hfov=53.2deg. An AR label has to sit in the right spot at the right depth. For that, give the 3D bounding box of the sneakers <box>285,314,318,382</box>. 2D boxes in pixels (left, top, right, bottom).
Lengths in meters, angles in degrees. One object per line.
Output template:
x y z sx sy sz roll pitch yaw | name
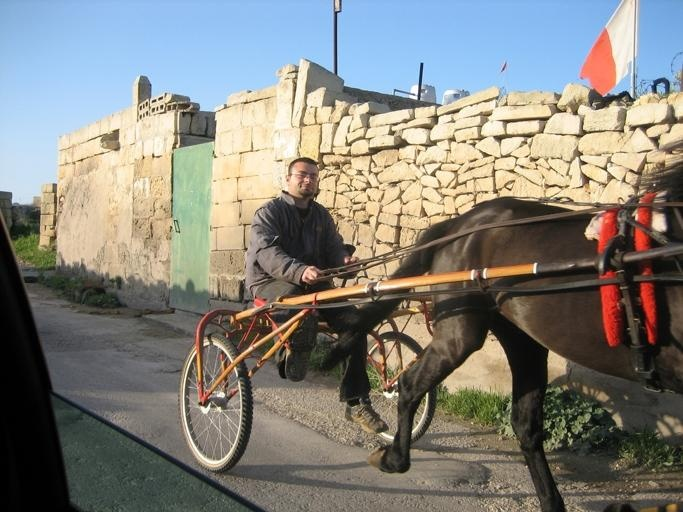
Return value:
-0.325 0.707 5.148 0.191 0.582 0.242 7 17 -20 | sneakers

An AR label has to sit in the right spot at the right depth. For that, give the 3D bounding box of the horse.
1.087 0.484 4.412 2.087 2.195 0.657 5 6 34 | horse

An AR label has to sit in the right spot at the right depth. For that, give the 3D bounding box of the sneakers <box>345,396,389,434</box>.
0.197 1.241 5.320 0.167 0.201 0.446 -3 7 -32 | sneakers
